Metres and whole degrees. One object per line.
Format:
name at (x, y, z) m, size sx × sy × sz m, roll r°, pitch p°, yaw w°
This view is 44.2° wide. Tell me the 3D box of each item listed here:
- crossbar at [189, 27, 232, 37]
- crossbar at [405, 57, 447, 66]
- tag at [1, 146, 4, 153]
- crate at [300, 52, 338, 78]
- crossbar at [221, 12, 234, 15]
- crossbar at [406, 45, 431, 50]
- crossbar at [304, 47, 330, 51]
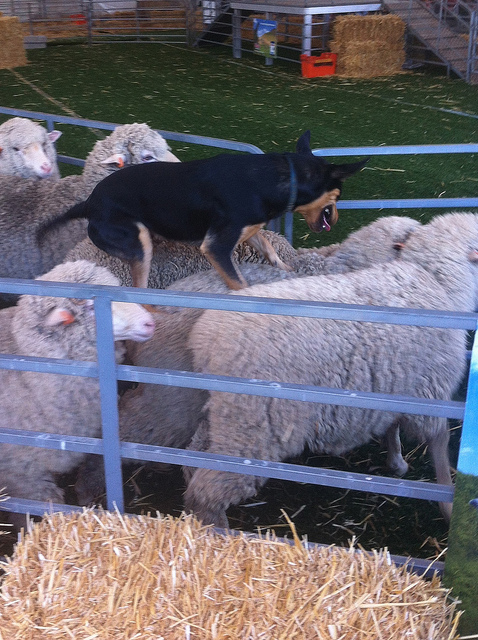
crossbar at (-0.826, -7.916, 16.228) m, size 0.880 × 0.186 × 2.367 m, roll -8°, pitch 26°, yaw -21°
crossbar at (4.107, -5.580, 12.714) m, size 0.733 × 0.123 × 1.303 m, roll -3°, pitch 24°, yaw -10°
tag at (-1.808, -1.304, 4.517) m, size 0.024 × 0.044 × 0.089 m, roll 1°, pitch 23°, yaw -13°
crate at (1.644, -5.336, 12.408) m, size 0.910 × 0.539 × 0.532 m, roll -13°, pitch 36°, yaw -22°
crossbar at (-0.294, -7.868, 15.152) m, size 0.223 × 0.071 × 0.769 m, roll -2°, pitch 24°, yaw -8°
crossbar at (4.006, -6.060, 13.107) m, size 0.403 × 0.079 × 0.672 m, roll 12°, pitch 26°, yaw 22°
crossbar at (1.690, -5.762, 12.556) m, size 0.504 × 0.088 × 1.119 m, roll 5°, pitch 24°, yaw 7°
